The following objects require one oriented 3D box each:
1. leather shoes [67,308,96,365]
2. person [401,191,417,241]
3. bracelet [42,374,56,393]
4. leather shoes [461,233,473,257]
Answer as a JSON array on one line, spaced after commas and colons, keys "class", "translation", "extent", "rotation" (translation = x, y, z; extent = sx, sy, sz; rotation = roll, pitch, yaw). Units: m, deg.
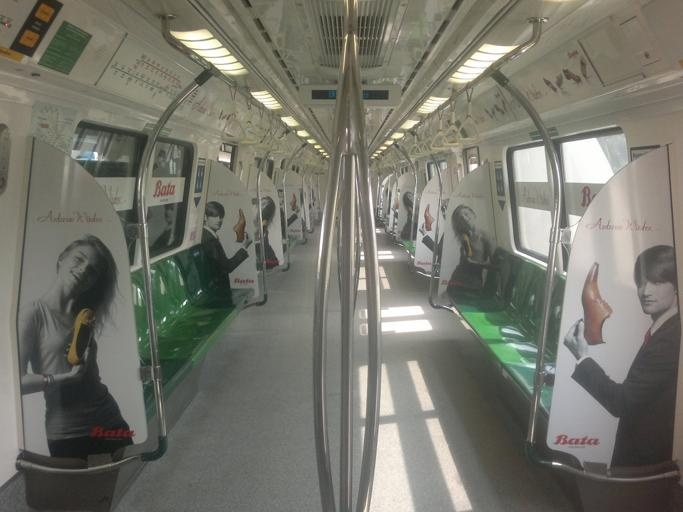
[{"class": "leather shoes", "translation": [-1.557, 0.463, 2.701], "extent": [0.091, 0.373, 0.127], "rotation": [9, -2, 39]}, {"class": "person", "translation": [1.332, -0.812, 9.172], "extent": [0.232, 0.992, 0.312], "rotation": [0, 3, 0]}, {"class": "bracelet", "translation": [-1.747, 0.757, 2.673], "extent": [0.073, 0.060, 0.102], "rotation": [3, 3, -14]}, {"class": "leather shoes", "translation": [1.322, -0.115, 4.688], "extent": [0.078, 0.236, 0.033], "rotation": [-15, 21, -3]}]
